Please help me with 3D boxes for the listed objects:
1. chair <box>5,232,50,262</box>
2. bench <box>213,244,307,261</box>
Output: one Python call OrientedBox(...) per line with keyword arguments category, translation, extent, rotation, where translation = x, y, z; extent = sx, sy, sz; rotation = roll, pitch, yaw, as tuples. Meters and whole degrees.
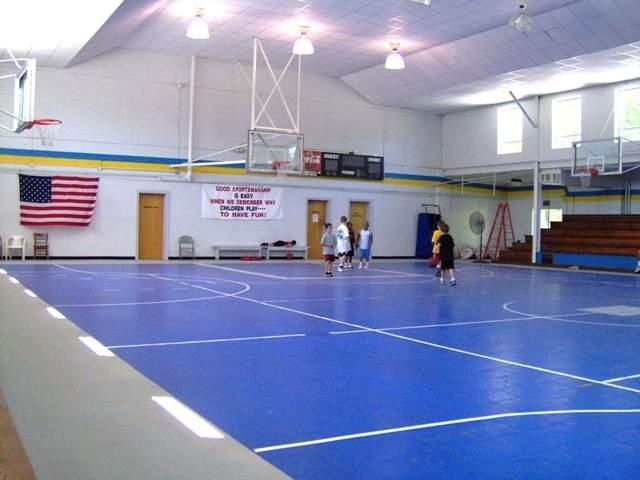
OrientedBox(category="chair", translation=(-9.639, 0.194, 16.639), extent=(1.262, 0.883, 0.612), rotation=(0, 2, -29))
OrientedBox(category="bench", translation=(-2.370, 0.482, 20.165), extent=(3.836, 0.596, 0.545), rotation=(1, 2, -24))
